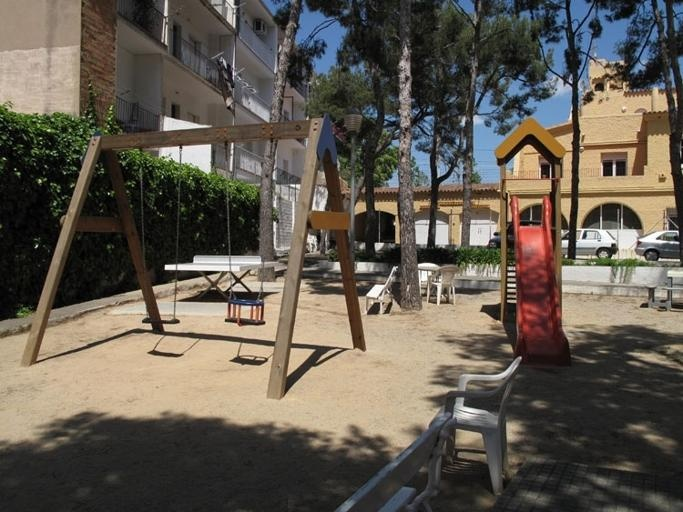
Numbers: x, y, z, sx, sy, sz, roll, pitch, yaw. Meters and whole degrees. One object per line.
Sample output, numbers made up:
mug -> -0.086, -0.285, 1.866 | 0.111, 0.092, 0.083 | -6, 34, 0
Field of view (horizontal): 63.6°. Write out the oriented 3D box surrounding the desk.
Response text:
desk -> -2.644, 0.569, 12.267 | 2.393, 1.186, 1.672 | 5, 2, 6

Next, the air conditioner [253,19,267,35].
air conditioner -> -4.769, -13.384, 32.314 | 0.574, 0.883, 1.134 | 1, 2, 9

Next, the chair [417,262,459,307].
chair -> 2.596, 0.810, 14.213 | 1.021, 1.379, 1.036 | -1, 6, -18

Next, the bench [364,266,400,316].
bench -> 0.871, 0.413, 12.495 | 0.727, 1.416, 2.044 | 0, 1, 10
